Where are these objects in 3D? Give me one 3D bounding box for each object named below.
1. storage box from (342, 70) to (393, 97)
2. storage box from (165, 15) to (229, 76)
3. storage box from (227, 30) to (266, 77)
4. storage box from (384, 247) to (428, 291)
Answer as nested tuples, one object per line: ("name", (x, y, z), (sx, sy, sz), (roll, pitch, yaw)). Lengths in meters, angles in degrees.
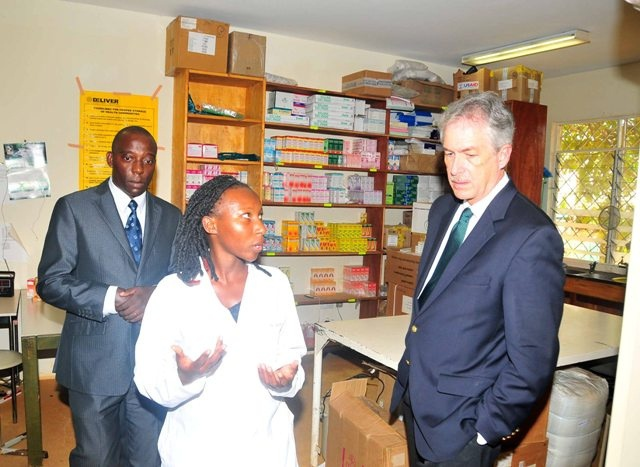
("storage box", (0.492, -1.611, 5.367), (0.344, 0.216, 0.470), (9, 13, 37))
("storage box", (-1.181, -1.765, 4.742), (0.603, 0.437, 0.584), (1, 8, -12))
("storage box", (-0.734, -1.722, 4.897), (0.416, 0.392, 0.408), (0, 8, -21))
("storage box", (0.968, 0.294, 5.290), (0.364, 0.446, 0.657), (-3, 6, -29))
